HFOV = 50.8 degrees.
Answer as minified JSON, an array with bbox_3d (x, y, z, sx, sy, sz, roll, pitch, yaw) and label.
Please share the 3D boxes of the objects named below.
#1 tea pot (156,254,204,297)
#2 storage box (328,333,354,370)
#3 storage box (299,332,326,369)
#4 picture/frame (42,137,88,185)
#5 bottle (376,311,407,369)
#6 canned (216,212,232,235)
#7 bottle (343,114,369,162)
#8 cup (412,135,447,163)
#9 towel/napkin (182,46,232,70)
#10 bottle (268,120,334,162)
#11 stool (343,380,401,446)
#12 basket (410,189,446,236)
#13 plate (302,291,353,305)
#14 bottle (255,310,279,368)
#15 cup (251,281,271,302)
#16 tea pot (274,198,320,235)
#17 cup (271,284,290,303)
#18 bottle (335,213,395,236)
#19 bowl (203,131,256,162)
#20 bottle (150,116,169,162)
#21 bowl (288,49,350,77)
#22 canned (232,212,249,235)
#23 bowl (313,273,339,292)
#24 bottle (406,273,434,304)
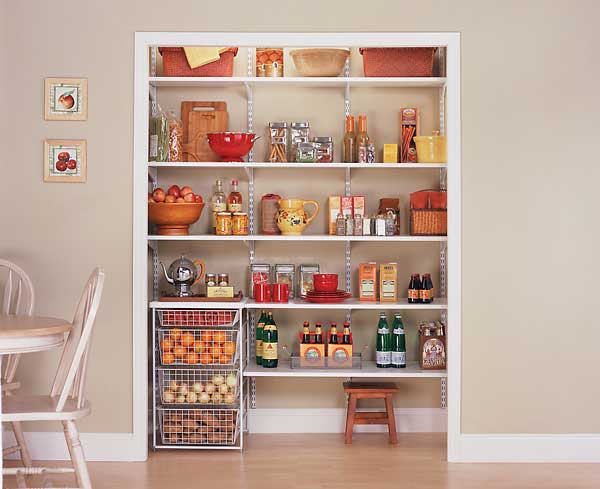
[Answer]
[{"bbox_3d":[-0.738,0.194,3.956,0.274,0.249,0.340,-2,8,-12],"label":"tea pot"},{"bbox_3d":[0.245,0.652,3.879,0.155,0.186,0.100,0,7,2],"label":"storage box"},{"bbox_3d":[0.072,0.661,3.859,0.188,0.251,0.138,0,-4,-2],"label":"storage box"},{"bbox_3d":[-1.344,-0.486,3.584,0.254,0.249,0.009,1,1,-5],"label":"picture/frame"},{"bbox_3d":[0.565,0.595,3.903,0.171,0.318,0.120,1,7,11],"label":"bottle"},{"bbox_3d":[-0.478,-0.127,3.869,0.107,0.134,0.075,0,7,2],"label":"canned"},{"bbox_3d":[0.346,-0.671,3.965,0.142,0.304,0.263,-1,7,-5],"label":"bottle"},{"bbox_3d":[0.794,-0.570,3.831,0.166,0.124,0.168,-1,-1,0],"label":"cup"},{"bbox_3d":[-0.610,-1.161,3.922,0.168,0.172,0.052,-25,4,-3],"label":"towel/napkin"},{"bbox_3d":[-0.001,-0.638,3.953,0.298,0.189,0.094,0,-1,2],"label":"bottle"},{"bbox_3d":[0.436,1.039,3.920,0.346,0.330,0.342,0,-6,2],"label":"stool"},{"bbox_3d":[0.775,-0.189,3.813,0.214,0.263,0.171,1,7,9],"label":"basket"},{"bbox_3d":[0.168,0.324,3.886,0.282,0.069,0.179,-1,8,-3],"label":"plate"},{"bbox_3d":[-0.210,0.585,3.954,0.142,0.325,0.230,-1,7,-3],"label":"bottle"},{"bbox_3d":[-0.235,0.293,3.914,0.117,0.106,0.124,-1,7,0],"label":"cup"},{"bbox_3d":[-0.015,-0.169,3.983,0.257,0.236,0.298,0,7,3],"label":"tea pot"},{"bbox_3d":[-0.119,0.297,3.869,0.104,0.111,0.090,-2,7,-9],"label":"cup"},{"bbox_3d":[0.406,-0.129,3.883,0.364,0.138,0.135,-2,7,-7],"label":"bottle"},{"bbox_3d":[-0.420,-0.588,3.829,0.283,0.176,0.120,-2,7,-8],"label":"bowl"},{"bbox_3d":[-0.857,-0.633,3.800,0.119,0.271,0.164,-1,7,-6],"label":"bottle"},{"bbox_3d":[0.121,-1.128,3.916,0.359,0.178,0.078,-1,7,-3],"label":"bowl"},{"bbox_3d":[-0.369,-0.130,3.936,0.122,0.130,0.121,0,-3,-4],"label":"canned"},{"bbox_3d":[0.162,0.232,3.873,0.123,0.079,0.113,-1,-4,0],"label":"bowl"},{"bbox_3d":[0.734,0.268,3.836,0.176,0.165,0.159,0,-2,-1],"label":"bottle"}]
